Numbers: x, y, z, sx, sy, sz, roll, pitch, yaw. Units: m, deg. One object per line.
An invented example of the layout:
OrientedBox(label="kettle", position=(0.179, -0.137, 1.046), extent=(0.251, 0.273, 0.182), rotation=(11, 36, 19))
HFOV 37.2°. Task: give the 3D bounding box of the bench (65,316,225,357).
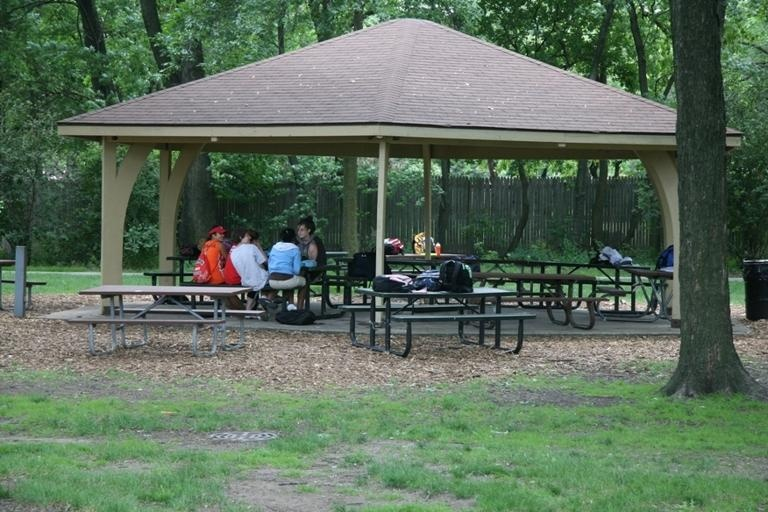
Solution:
OrientedBox(label="bench", position=(-4.335, 1.402, 21.232), extent=(2.744, 0.643, 3.013), rotation=(0, -1, -8))

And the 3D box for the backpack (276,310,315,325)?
OrientedBox(label="backpack", position=(-1.743, 1.188, 22.728), extent=(0.466, 0.162, 0.372), rotation=(-6, -11, 26))

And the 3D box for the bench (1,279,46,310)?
OrientedBox(label="bench", position=(-7.876, 0.711, 25.026), extent=(1.139, 0.727, 0.920), rotation=(-1, -6, -5))
